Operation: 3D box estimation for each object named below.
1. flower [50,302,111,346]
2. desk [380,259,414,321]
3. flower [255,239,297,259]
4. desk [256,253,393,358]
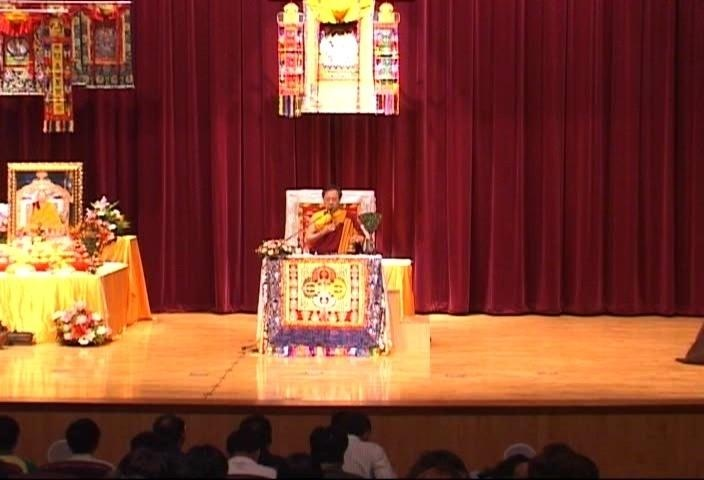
[{"bbox_3d":[-2.695,0.856,8.552,0.409,0.283,0.456,5,38,-9],"label":"flower"},{"bbox_3d":[0.516,0.516,9.039,0.468,0.679,0.492,-1,2,5],"label":"desk"},{"bbox_3d":[-0.729,0.087,8.265,0.323,0.170,0.114,-2,10,-13],"label":"flower"},{"bbox_3d":[-0.292,0.623,8.591,0.935,0.733,1.025,0,1,0],"label":"desk"}]
